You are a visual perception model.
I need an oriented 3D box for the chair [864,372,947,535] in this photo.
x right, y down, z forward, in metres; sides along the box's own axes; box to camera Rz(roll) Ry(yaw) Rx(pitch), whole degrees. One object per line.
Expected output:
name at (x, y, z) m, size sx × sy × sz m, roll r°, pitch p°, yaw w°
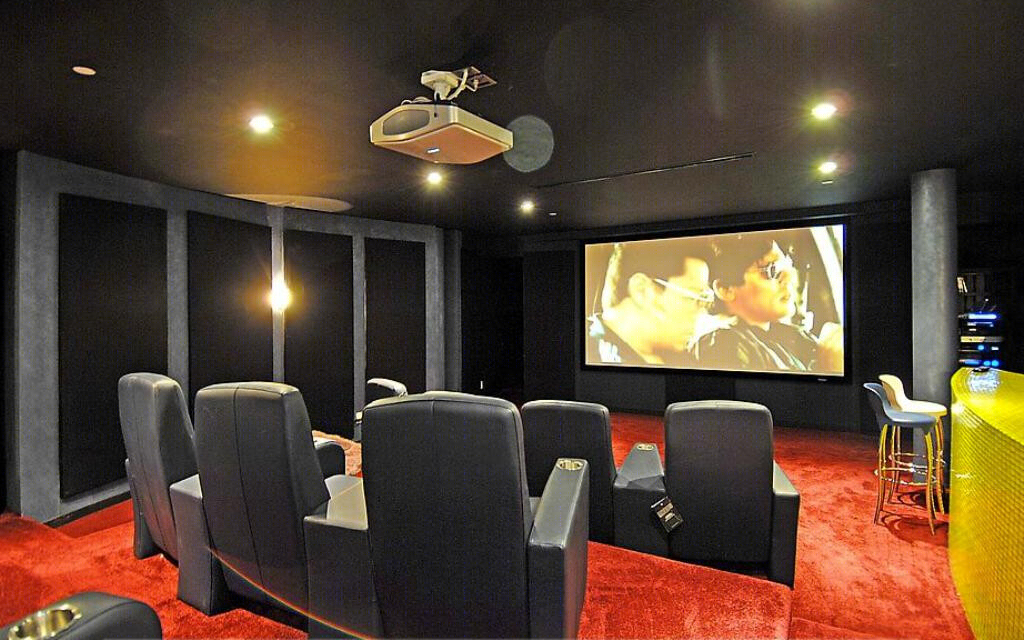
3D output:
chair at (4.089, 1.255, 7.119) m, size 0.678 × 1.324 × 2.203 m, roll -2°, pitch 0°, yaw 32°

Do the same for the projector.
projector at (-0.571, -1.606, 5.808) m, size 0.670 × 0.307 × 0.954 m, roll -2°, pitch 0°, yaw 41°
